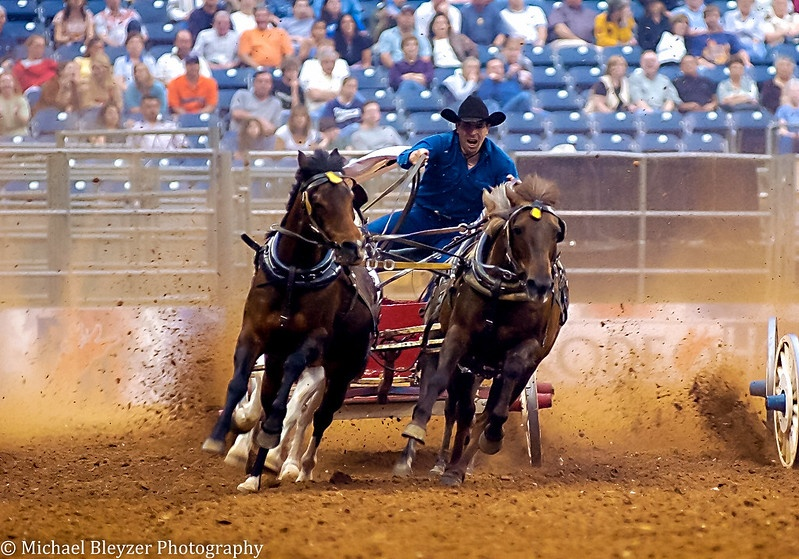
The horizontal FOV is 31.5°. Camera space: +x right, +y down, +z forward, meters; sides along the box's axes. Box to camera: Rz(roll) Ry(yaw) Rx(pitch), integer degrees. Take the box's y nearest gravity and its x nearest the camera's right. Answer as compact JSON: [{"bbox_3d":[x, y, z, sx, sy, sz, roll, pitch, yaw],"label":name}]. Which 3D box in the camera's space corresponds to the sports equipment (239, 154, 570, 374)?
[{"bbox_3d":[-0.135,-0.040,13.133,1.423,2.366,4.144,3,-5,8],"label":"sports equipment"}]

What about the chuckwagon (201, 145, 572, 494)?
[{"bbox_3d":[-0.633,0.434,14.243,3.548,2.701,4.062,5,-10,-21],"label":"chuckwagon"}]

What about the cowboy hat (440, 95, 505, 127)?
[{"bbox_3d":[0.736,-1.718,14.326,0.627,0.235,0.371,3,1,0],"label":"cowboy hat"}]
